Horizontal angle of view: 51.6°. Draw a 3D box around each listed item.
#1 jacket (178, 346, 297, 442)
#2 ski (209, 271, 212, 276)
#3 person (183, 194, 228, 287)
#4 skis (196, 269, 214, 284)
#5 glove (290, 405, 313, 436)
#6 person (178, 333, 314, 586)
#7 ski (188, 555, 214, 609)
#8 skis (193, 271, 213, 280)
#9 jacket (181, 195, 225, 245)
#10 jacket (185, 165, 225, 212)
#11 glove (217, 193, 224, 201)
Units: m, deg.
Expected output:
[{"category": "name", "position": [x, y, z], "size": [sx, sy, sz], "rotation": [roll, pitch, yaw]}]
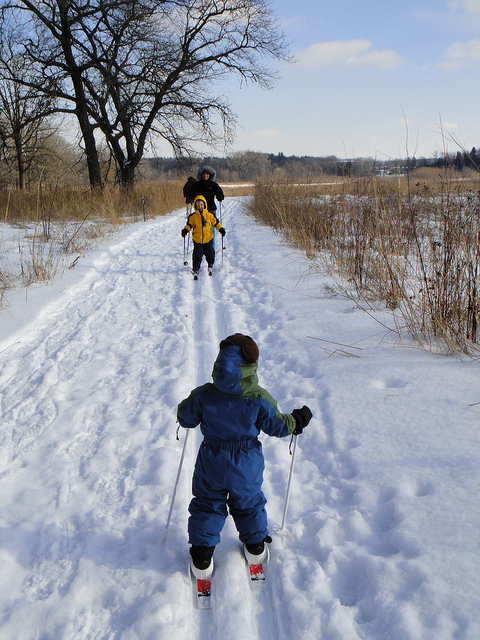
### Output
[{"category": "jacket", "position": [-0.007, 0.430, 2.813], "size": [0.419, 0.776, 0.296], "rotation": [9, 41, 8]}, {"category": "ski", "position": [-0.499, -0.782, 8.291], "size": [0.037, 0.063, 0.017], "rotation": [3, -16, 7]}, {"category": "person", "position": [-0.605, -1.357, 8.132], "size": [0.667, 1.315, 1.007], "rotation": [-2, 12, 5]}, {"category": "skis", "position": [-0.605, -0.751, 8.279], "size": [0.205, 0.096, 0.230], "rotation": [-2, 25, -11]}, {"category": "glove", "position": [0.298, 0.477, 2.394], "size": [0.046, 0.125, 0.116], "rotation": [32, 2, -44]}, {"category": "person", "position": [-0.021, 0.639, 2.422], "size": [0.579, 1.245, 0.460], "rotation": [3, 14, 1]}, {"category": "ski", "position": [-0.173, 1.154, 2.225], "size": [0.101, 0.119, 0.230], "rotation": [-4, 13, -1]}, {"category": "skis", "position": [-0.582, -0.731, 8.113], "size": [0.142, 0.074, 0.476], "rotation": [5, 16, 34]}, {"category": "jacket", "position": [-0.615, -1.452, 8.111], "size": [0.649, 1.219, 0.356], "rotation": [-7, -17, -4]}, {"category": "jacket", "position": [-0.641, -2.318, 9.400], "size": [0.584, 1.283, 0.438], "rotation": [-2, 31, -2]}, {"category": "glove", "position": [-0.359, -2.281, 9.215], "size": [0.125, 0.031, 0.162], "rotation": [1, 58, -4]}]
